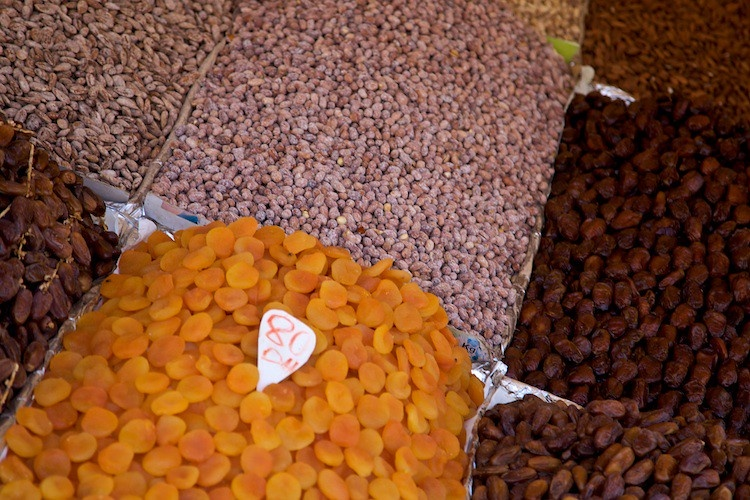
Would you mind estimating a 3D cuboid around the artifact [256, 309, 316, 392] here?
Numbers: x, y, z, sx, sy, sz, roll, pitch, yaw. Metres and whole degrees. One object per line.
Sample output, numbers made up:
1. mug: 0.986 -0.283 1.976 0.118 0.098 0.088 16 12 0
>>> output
1. artifact: -0.402 0.440 2.835 0.267 0.087 0.441 28 29 -7
